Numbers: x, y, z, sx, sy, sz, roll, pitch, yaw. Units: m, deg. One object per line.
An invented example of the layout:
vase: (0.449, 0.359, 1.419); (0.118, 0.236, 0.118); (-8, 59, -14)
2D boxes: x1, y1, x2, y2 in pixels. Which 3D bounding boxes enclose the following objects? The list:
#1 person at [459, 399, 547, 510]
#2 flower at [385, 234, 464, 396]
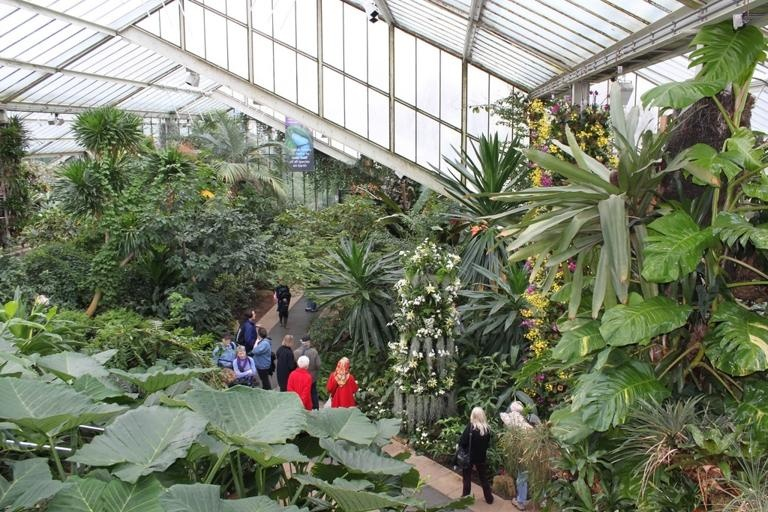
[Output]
person: (1.227, 2.083, 6.019); (0.899, 1.255, 0.410); (3, 18, 14)
flower: (0.515, 0.760, 7.404); (0.842, 1.960, 0.485); (1, -7, 1)
